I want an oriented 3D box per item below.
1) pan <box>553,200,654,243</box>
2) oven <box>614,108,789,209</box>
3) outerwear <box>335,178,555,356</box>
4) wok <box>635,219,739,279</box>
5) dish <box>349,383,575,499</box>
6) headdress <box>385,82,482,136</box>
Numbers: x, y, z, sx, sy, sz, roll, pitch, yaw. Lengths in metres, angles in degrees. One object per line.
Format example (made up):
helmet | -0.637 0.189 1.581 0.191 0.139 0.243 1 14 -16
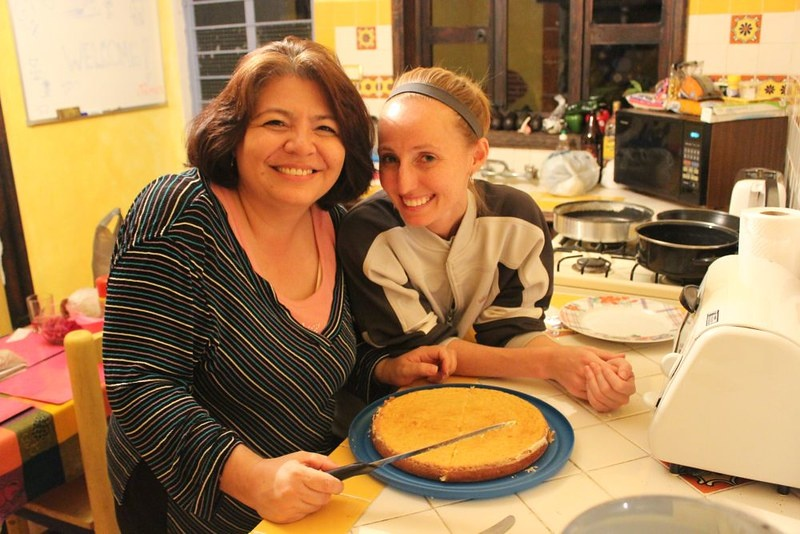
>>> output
pan | 0.802 -0.181 2.497 0.258 0.063 0.254 -4 20 -5
oven | 1.553 -0.605 3.346 0.506 0.423 0.715 -7 20 -12
outerwear | 0.107 0.008 1.731 0.417 0.410 0.214 -10 42 1
wok | 0.964 -0.066 2.104 0.210 0.115 0.316 -8 21 -13
dish | 0.151 0.342 1.464 0.445 0.027 0.445 0 1 8
headdress | 0.104 -0.410 1.625 0.162 0.043 0.147 29 18 13
